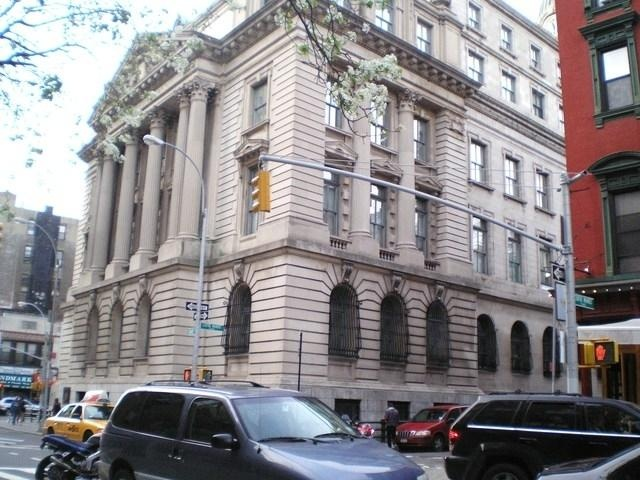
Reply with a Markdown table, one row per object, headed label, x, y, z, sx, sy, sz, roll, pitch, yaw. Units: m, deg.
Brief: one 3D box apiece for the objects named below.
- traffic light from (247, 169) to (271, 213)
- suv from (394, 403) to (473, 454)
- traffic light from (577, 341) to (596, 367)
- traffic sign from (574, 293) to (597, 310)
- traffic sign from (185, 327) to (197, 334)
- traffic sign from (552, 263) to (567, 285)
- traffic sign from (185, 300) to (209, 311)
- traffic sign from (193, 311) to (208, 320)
| label | x | y | z | sx | sy | sz | roll | pitch | yaw |
| --- | --- | --- | --- | --- | --- | --- | --- | --- | --- |
| traffic light | -1.670 | -1.444 | 20.696 | 0.446 | 1.145 | 1.142 | -1 | -2 | 3 |
| suv | 4.949 | 8.123 | 29.935 | 3.612 | 1.652 | 2.085 | 16 | -23 | -39 |
| traffic light | 8.106 | 3.427 | 20.943 | 0.340 | 0.756 | 0.675 | 0 | -18 | 4 |
| traffic sign | 9.395 | 2.107 | 24.444 | 0.728 | 0.704 | 0.193 | 16 | -18 | -35 |
| traffic sign | -5.385 | 3.831 | 28.817 | 0.378 | 0.368 | 0.095 | 1 | 9 | -21 |
| traffic sign | 7.985 | 1.120 | 23.069 | 0.593 | 0.676 | 0.086 | 22 | -30 | -35 |
| traffic sign | -5.508 | 2.872 | 30.705 | 0.922 | 0.546 | 0.045 | 10 | -25 | -27 |
| traffic sign | -5.043 | 3.136 | 29.131 | 0.837 | 0.607 | 0.093 | -2 | 2 | 30 |
